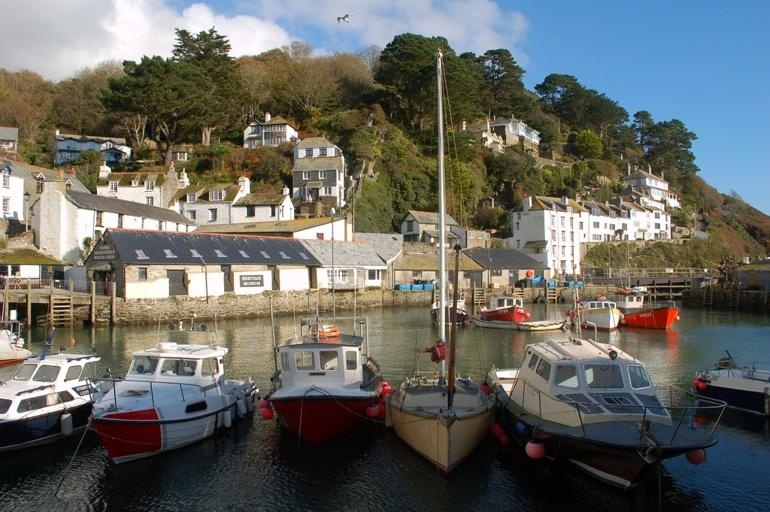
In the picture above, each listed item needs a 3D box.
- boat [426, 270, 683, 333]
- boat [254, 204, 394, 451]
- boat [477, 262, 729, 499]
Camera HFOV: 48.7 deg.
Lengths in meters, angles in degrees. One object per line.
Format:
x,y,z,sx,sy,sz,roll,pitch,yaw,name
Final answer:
15.617,4.414,81.338,27.716,4.825,5.469,0,2,14,boat
-3.794,7.437,57.885,7.221,8.490,14.282,-2,-5,-2,boat
12.126,9.159,50.002,11.164,8.404,3.819,-3,-5,12,boat
